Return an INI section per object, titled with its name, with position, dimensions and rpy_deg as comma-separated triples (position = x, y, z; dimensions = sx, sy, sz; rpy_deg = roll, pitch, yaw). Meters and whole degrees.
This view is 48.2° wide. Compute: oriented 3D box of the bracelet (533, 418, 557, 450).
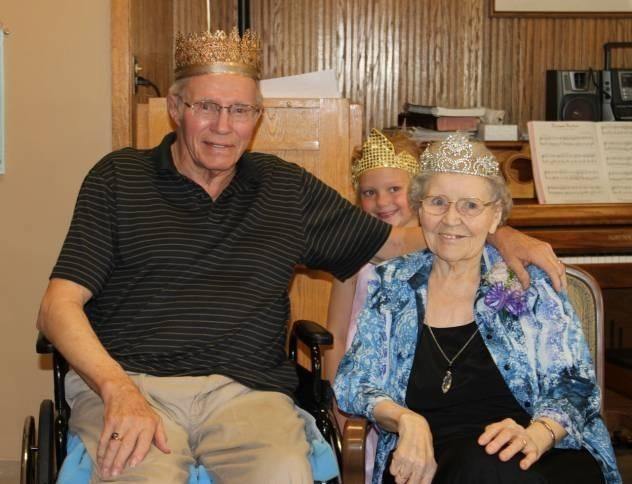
[bracelet]
position = 0.749, 0.631, 2.288
dimensions = 0.020, 0.074, 0.070
rpy_deg = -30, 32, 4

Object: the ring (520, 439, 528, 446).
[ring]
position = 0.657, 0.638, 2.228
dimensions = 0.005, 0.018, 0.018
rpy_deg = 0, -1, -14
